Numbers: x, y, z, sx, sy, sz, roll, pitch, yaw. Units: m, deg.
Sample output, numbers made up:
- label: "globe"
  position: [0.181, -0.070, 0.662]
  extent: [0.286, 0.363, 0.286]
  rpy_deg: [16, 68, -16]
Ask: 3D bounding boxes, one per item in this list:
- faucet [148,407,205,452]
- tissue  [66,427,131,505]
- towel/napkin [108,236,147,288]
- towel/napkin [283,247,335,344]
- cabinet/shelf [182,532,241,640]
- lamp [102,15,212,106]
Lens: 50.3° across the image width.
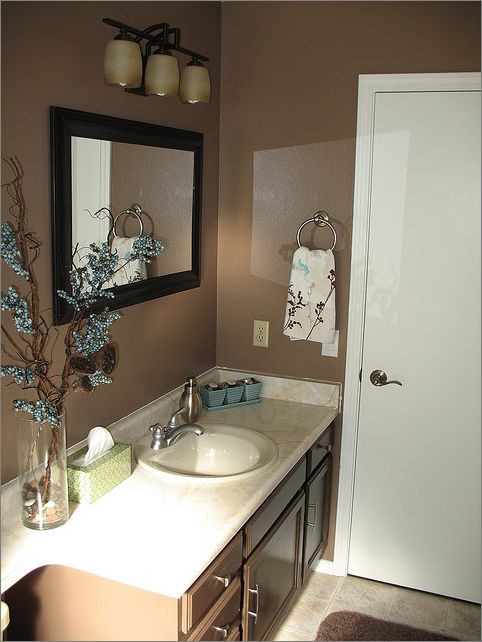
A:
- label: "faucet"
  position: [-0.216, 0.337, 1.625]
  extent: [0.141, 0.060, 0.103]
  rpy_deg: [4, 14, 39]
- label: "tissue "
  position: [-0.383, 0.387, 1.351]
  extent: [0.084, 0.155, 0.170]
  rpy_deg: [2, 6, 21]
- label: "towel/napkin"
  position: [-0.348, -0.184, 1.568]
  extent: [0.118, 0.158, 0.046]
  rpy_deg: [10, 15, 36]
- label: "towel/napkin"
  position: [0.277, -0.110, 2.069]
  extent: [0.203, 0.370, 0.065]
  rpy_deg: [4, 9, 10]
- label: "cabinet/shelf"
  position: [-0.064, 0.603, 1.168]
  extent: [0.117, 0.084, 0.171]
  rpy_deg: [0, 5, 17]
- label: "lamp"
  position: [-0.237, -0.704, 1.375]
  extent: [0.155, 0.194, 0.335]
  rpy_deg: [13, 16, 38]
